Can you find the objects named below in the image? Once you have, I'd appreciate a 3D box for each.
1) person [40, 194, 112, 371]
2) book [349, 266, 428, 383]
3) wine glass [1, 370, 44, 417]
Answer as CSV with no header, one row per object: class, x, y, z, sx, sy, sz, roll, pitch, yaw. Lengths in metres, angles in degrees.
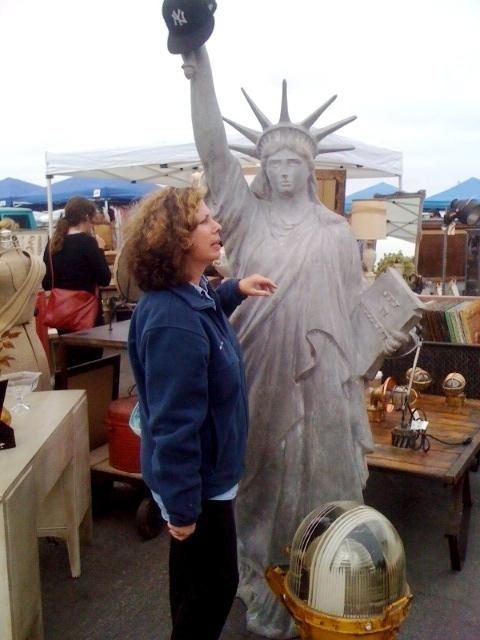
person,-1.475,-0.332,4.363,0.561,1.534,0.590,4,17,-4
book,0.502,0.028,1.593,0.072,0.400,0.291,-2,3,-24
wine glass,-0.957,0.326,2.095,0.181,0.172,0.181,0,-5,-1
